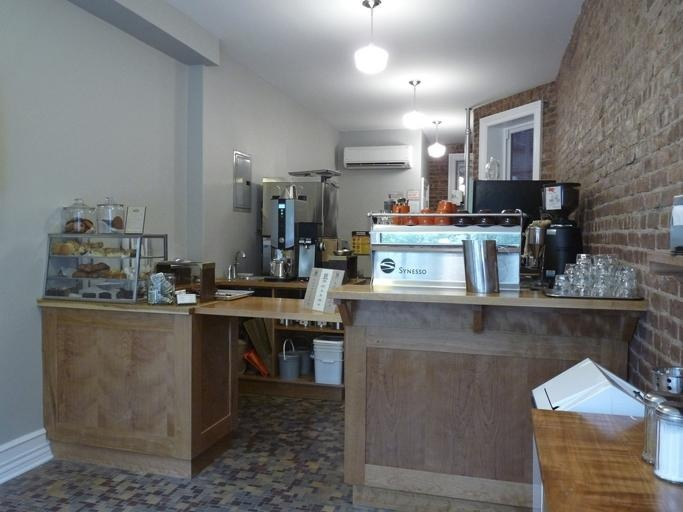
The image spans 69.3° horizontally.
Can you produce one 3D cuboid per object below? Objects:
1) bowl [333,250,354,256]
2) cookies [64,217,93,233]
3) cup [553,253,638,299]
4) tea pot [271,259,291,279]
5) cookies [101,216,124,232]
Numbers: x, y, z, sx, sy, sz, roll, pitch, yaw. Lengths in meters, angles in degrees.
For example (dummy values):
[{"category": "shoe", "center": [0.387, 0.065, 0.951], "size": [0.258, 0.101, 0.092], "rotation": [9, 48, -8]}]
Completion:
[{"category": "bowl", "center": [0.021, -0.034, 5.837], "size": [0.188, 0.072, 0.352], "rotation": [1, 5, 11]}, {"category": "cookies", "center": [-1.897, -0.218, 3.562], "size": [0.205, 0.114, 0.076], "rotation": [1, 4, 4]}, {"category": "cup", "center": [1.372, 0.130, 2.637], "size": [0.287, 0.138, 0.299], "rotation": [0, 0, 0]}, {"category": "tea pot", "center": [-0.630, 0.136, 5.246], "size": [0.207, 0.216, 0.165], "rotation": [-1, 5, -13]}, {"category": "cookies", "center": [-1.640, -0.231, 3.582], "size": [0.092, 0.117, 0.128], "rotation": [-2, -9, 15]}]
